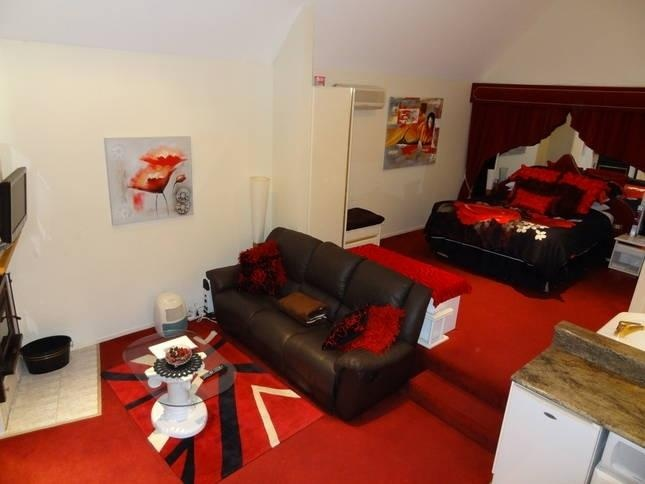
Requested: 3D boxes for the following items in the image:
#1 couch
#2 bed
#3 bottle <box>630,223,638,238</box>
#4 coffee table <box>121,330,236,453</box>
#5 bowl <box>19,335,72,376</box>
[{"bbox_3d":[-0.207,0.749,4.508,1.100,1.185,2.329,-13,24,-41],"label":"couch"},{"bbox_3d":[2.862,-0.326,6.308,1.912,1.326,1.940,-15,24,-38],"label":"bed"},{"bbox_3d":[4.321,-0.169,5.924,0.089,0.158,0.206,16,25,40],"label":"bottle"},{"bbox_3d":[-1.156,1.052,3.627,0.736,0.579,1.058,-17,33,-34],"label":"coffee table"},{"bbox_3d":[-2.628,1.054,4.090,0.286,0.176,0.370,0,7,-3],"label":"bowl"}]
